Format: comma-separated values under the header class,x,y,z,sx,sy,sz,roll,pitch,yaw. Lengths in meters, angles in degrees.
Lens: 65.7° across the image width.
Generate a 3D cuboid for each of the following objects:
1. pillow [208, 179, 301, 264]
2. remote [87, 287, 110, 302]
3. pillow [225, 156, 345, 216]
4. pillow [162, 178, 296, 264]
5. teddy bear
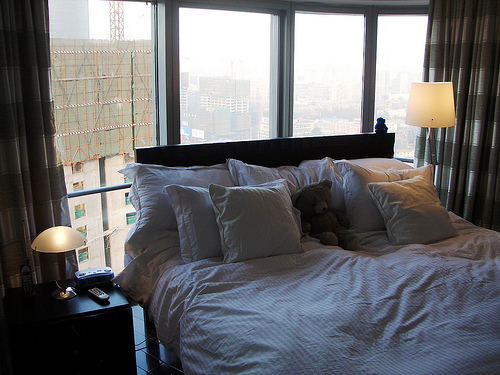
class,x,y,z,sx,sy,sz,roll,pitch,yaw
pillow,0.019,0.245,2.511,0.470,0.375,0.175,1,-11,-31
remote,-0.887,0.623,2.247,0.057,0.040,0.169,-23,27,-39
pillow,0.314,-0.087,3.159,0.567,0.179,0.578,3,23,-14
pillow,0.063,0.215,2.628,0.669,0.516,0.252,-3,0,-37
teddy bear,0.542,0.218,2.867,0.349,0.499,0.420,-16,8,-21
